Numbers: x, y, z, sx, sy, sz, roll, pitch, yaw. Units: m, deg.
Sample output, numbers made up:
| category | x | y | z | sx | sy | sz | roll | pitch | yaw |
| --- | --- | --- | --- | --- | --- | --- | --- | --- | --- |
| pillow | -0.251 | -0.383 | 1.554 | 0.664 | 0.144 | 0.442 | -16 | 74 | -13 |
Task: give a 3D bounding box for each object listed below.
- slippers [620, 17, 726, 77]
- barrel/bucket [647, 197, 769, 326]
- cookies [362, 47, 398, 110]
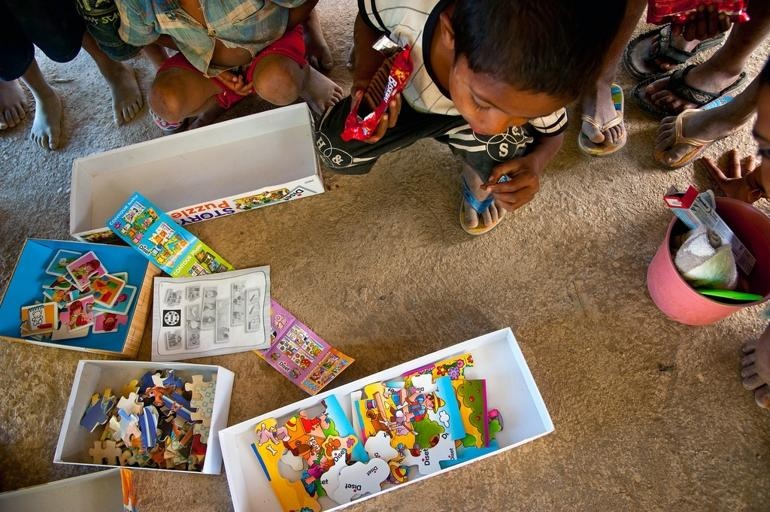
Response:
| category | x | y | z | sx | sy | sz | roll | pitch | yaw |
| --- | --- | --- | --- | --- | --- | --- | --- | --- | --- |
| slippers | 1.235 | -0.907 | 2.554 | 0.425 | 0.118 | 0.212 | -19 | 81 | 16 |
| barrel/bucket | 1.199 | 0.010 | 2.292 | 0.460 | 0.435 | 0.452 | -1 | 86 | 10 |
| cookies | -0.011 | -0.580 | 1.974 | 0.074 | 0.061 | 0.234 | 40 | 113 | 35 |
